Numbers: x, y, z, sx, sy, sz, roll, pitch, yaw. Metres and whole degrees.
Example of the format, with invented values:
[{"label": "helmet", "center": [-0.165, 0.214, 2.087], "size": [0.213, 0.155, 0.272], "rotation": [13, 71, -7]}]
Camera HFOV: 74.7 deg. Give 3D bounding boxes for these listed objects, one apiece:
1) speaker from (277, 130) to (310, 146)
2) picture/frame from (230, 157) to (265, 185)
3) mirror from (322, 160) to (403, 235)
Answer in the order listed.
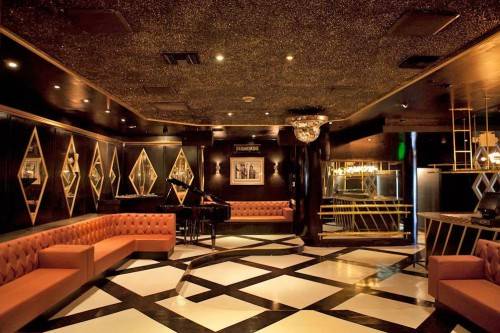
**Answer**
[{"label": "speaker", "center": [0.992, -0.701, 8.438], "size": [0.859, 0.332, 0.398], "rotation": [0, -5, 0]}, {"label": "picture/frame", "center": [-0.140, 0.158, 11.133], "size": [1.173, 0.738, 0.083], "rotation": [0, -3, -2]}, {"label": "mirror", "center": [3.238, 0.912, 9.437], "size": [2.448, 2.101, 0.965], "rotation": [0, 5, -3]}]
